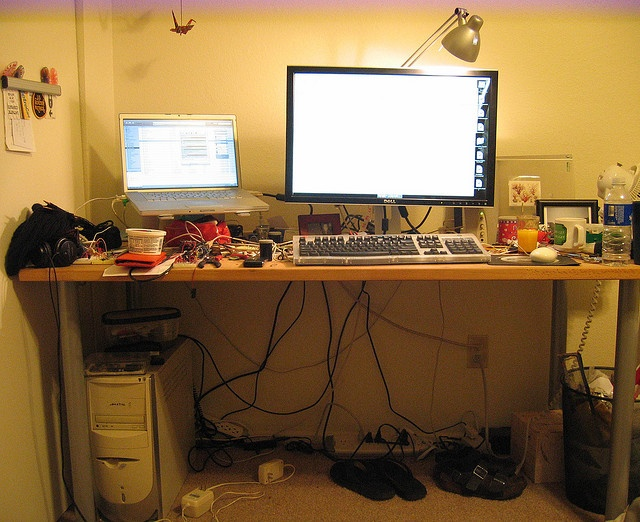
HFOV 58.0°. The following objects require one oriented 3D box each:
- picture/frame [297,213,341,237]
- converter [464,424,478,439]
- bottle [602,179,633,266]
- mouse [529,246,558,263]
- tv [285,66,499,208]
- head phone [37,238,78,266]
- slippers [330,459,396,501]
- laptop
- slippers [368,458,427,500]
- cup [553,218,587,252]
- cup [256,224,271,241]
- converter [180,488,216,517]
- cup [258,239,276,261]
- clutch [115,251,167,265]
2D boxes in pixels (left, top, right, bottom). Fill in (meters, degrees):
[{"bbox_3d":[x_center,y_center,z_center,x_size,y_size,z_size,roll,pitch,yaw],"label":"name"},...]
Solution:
[{"bbox_3d":[0.000,-0.141,2.263,0.106,0.104,0.029,1,-8,-6],"label":"picture/frame"},{"bbox_3d":[0.653,0.735,2.485,0.046,0.043,0.038,-4,23,2],"label":"converter"},{"bbox_3d":[0.995,-0.096,2.003,0.094,0.360,0.108,4,13,10],"label":"bottle"},{"bbox_3d":[0.765,-0.025,1.960,0.056,0.036,0.059,3,7,10],"label":"mouse"},{"bbox_3d":[0.265,-0.463,2.157,0.777,0.515,0.050,-1,10,1],"label":"tv"},{"bbox_3d":[-0.866,-0.027,1.915,0.132,0.095,0.064,-7,12,-30],"label":"head phone"},{"bbox_3d":[0.164,0.863,2.265,0.102,0.072,0.224,-12,21,-38],"label":"slippers"},{"bbox_3d":[-0.522,-0.403,2.214,0.477,0.333,0.432,-4,17,-22],"label":"laptop"},{"bbox_3d":[0.300,0.850,2.300,0.220,0.087,0.210,2,7,-5],"label":"slippers"},{"bbox_3d":[0.933,-0.100,2.157,0.079,0.095,0.129,0,4,8],"label":"cup"},{"bbox_3d":[-0.217,-0.111,2.253,0.047,0.058,0.059,0,-6,-5],"label":"cup"},{"bbox_3d":[-0.456,0.892,2.152,0.068,0.060,0.096,2,1,26],"label":"converter"},{"bbox_3d":[-0.182,-0.036,1.982,0.057,0.097,0.061,0,6,0],"label":"cup"},{"bbox_3d":[-0.586,-0.007,1.902,0.155,0.036,0.092,-4,10,-15],"label":"clutch"}]
